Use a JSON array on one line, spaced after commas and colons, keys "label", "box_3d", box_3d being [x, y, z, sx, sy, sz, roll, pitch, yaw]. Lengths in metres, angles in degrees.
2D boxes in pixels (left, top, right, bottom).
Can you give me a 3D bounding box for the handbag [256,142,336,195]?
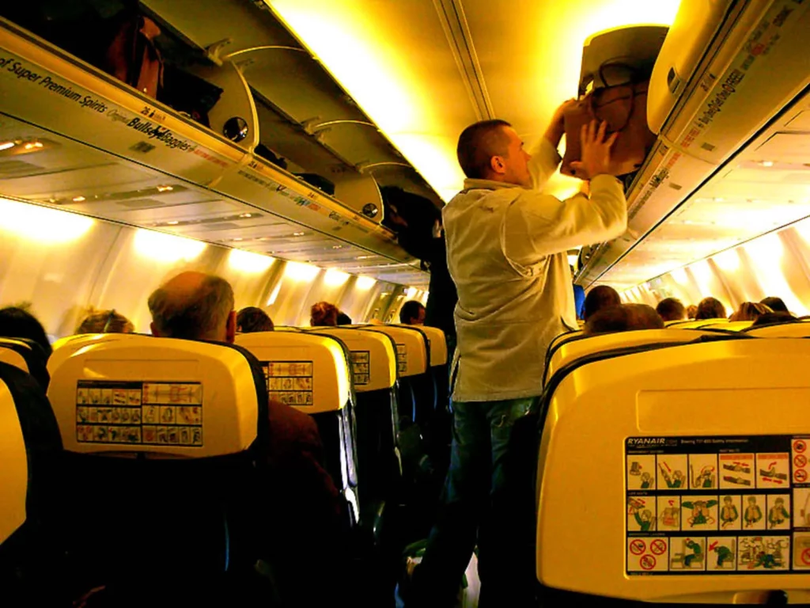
[{"label": "handbag", "box_3d": [-1.427, -1.891, 8.070, 0.988, 0.337, 0.792, 31, -8, -22]}]
